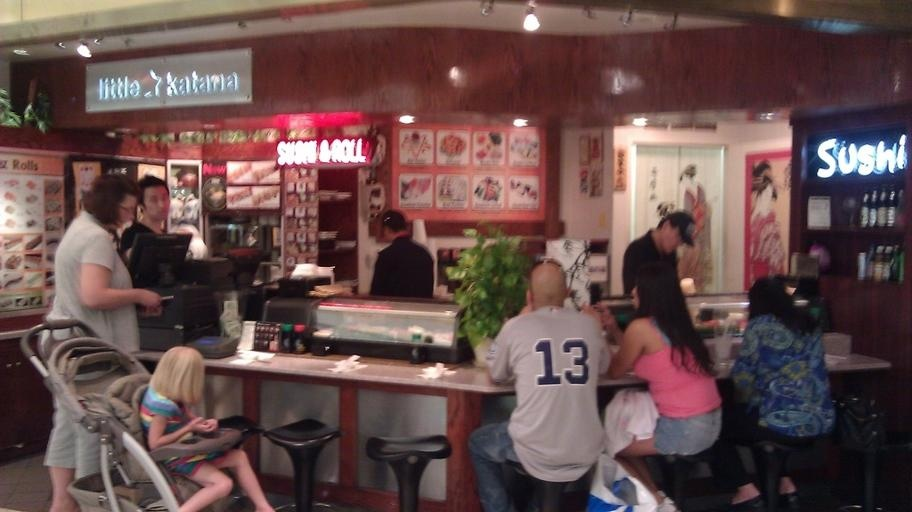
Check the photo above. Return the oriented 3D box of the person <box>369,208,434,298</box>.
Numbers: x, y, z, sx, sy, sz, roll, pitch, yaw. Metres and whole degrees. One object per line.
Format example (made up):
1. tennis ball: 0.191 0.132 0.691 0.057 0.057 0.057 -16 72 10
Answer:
1. person: -0.603 -0.034 7.263 0.605 0.916 0.368 -2 2 -28

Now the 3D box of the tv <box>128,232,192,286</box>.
1. tv: -2.692 0.035 6.153 0.518 0.429 0.284 2 4 -34

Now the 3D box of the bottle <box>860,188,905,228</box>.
1. bottle: 4.483 -0.515 7.161 0.143 0.417 0.443 -2 2 -29

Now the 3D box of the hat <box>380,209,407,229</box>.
1. hat: -0.693 -0.387 7.364 0.197 0.204 0.235 -2 7 -3

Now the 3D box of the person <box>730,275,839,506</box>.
1. person: 2.797 0.880 5.816 0.843 1.396 0.225 -1 2 -2

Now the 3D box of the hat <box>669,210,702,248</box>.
1. hat: 2.259 -0.269 6.779 0.388 0.321 0.225 -2 2 -39

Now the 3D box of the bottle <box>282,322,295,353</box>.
1. bottle: -1.548 0.743 6.235 0.129 0.251 0.033 -1 2 5

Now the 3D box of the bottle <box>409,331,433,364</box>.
1. bottle: -0.306 0.801 5.998 0.192 0.267 0.071 -1 2 -2

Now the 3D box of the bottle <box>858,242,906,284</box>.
1. bottle: 4.442 0.066 7.114 0.224 0.382 0.466 -2 2 -16

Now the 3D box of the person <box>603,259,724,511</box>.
1. person: 1.690 1.060 5.581 0.884 2.014 0.404 -2 2 -22

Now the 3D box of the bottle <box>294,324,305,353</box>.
1. bottle: -1.433 0.741 6.213 0.101 0.246 0.062 -2 2 -12
